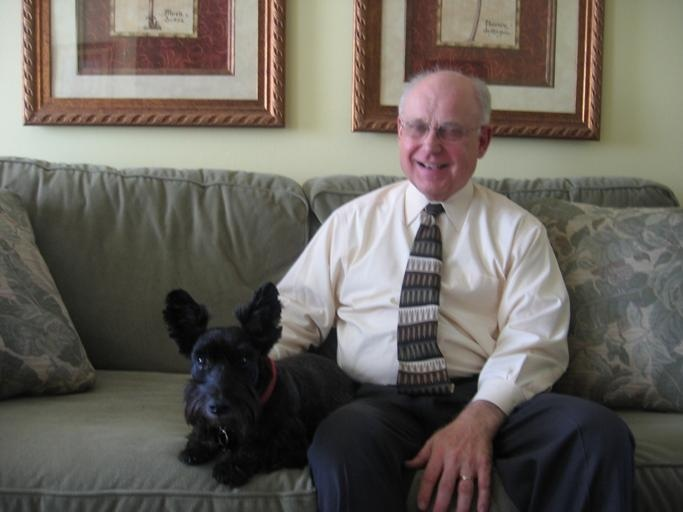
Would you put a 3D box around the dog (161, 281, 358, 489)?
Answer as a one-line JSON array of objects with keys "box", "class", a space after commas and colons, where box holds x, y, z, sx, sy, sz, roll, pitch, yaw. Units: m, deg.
[{"box": [-0.234, 0.367, 2.153, 0.396, 0.578, 0.705, 4, 4, 27], "class": "dog"}]

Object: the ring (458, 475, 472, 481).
[{"box": [0.356, 0.634, 1.918, 0.030, 0.014, 0.014, 0, 17, 9], "class": "ring"}]
